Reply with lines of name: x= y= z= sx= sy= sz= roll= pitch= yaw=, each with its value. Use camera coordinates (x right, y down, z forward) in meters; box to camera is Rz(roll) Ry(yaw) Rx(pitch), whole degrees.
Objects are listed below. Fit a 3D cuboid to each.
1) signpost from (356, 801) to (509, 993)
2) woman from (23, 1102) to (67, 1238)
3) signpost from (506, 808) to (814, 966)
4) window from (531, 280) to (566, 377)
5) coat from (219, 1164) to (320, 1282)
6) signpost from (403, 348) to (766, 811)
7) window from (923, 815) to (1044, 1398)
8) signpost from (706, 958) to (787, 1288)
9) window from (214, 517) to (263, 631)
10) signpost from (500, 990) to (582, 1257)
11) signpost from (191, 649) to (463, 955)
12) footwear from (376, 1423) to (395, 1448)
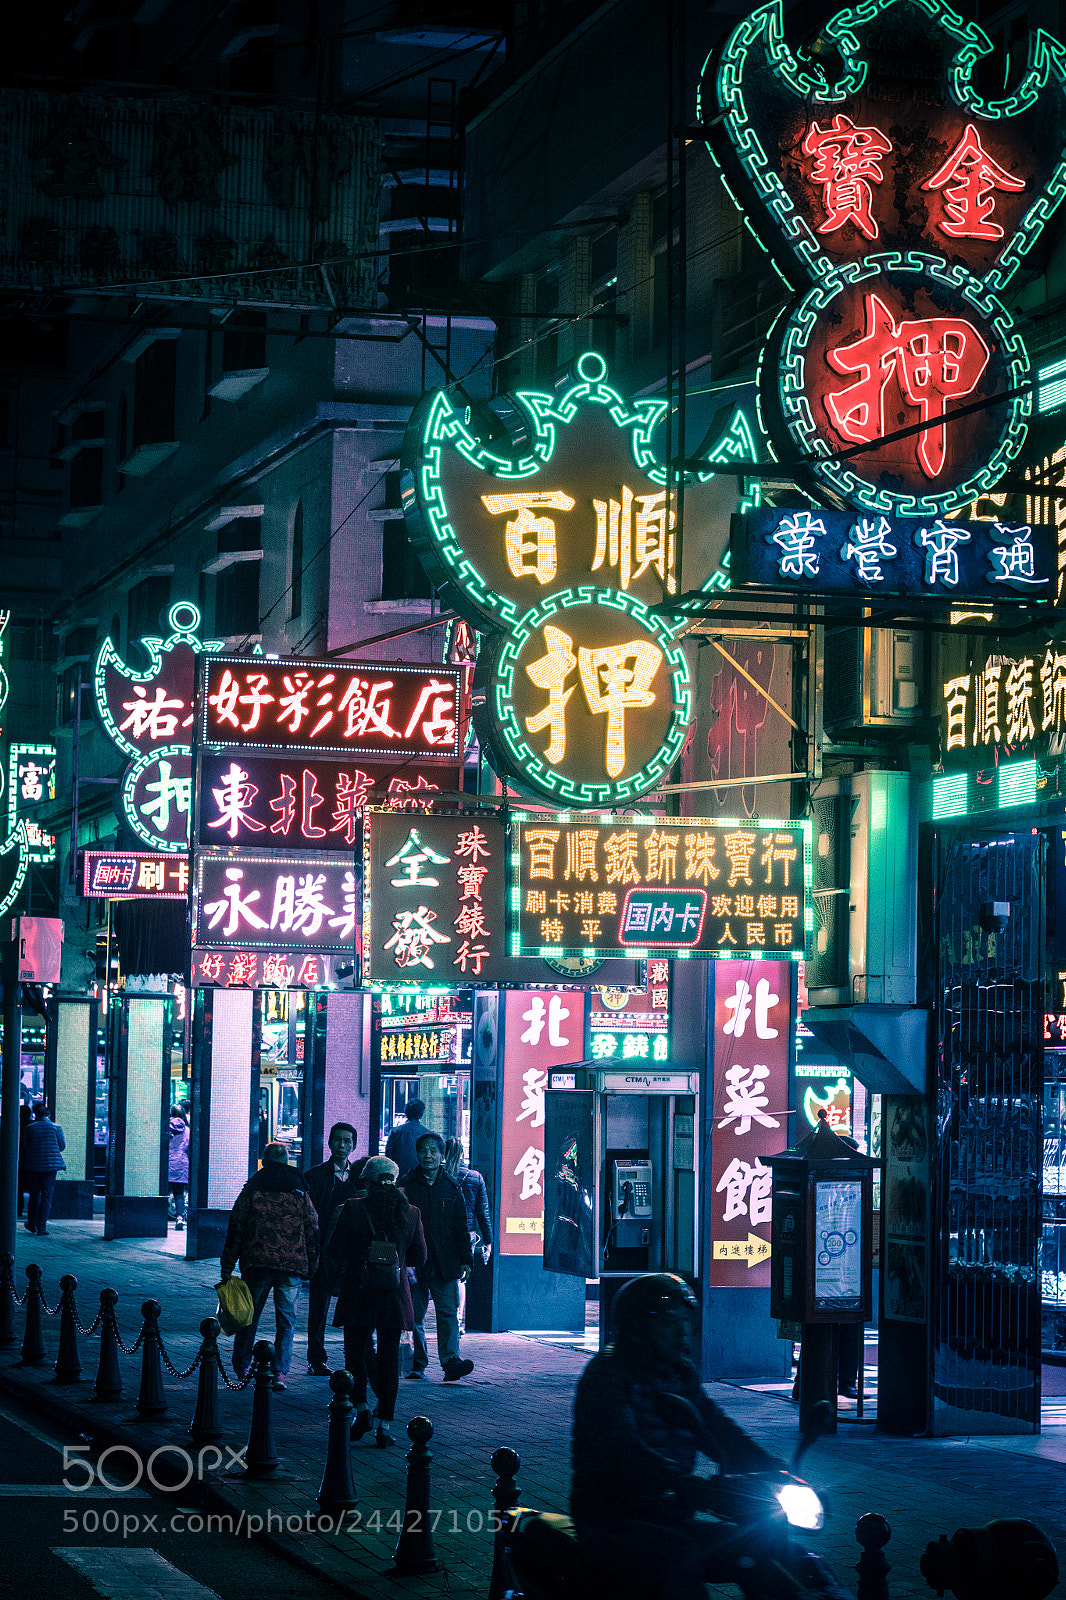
signpost: x=-0.658 y=0.636 z=15.952 sx=1.221 sy=1.481 sz=0.170 roll=1 pitch=-1 yaw=-10
woman: x=-6.737 y=5.017 z=33.333 sx=0.499 sy=1.777 sz=2.706 roll=4 pitch=-9 yaw=-10
signpost: x=0.841 y=0.567 z=15.437 sx=1.965 sy=0.966 sz=0.086 roll=0 pitch=-18 yaw=10
window: x=0.198 y=-4.339 z=23.130 sx=0.119 sy=1.283 sz=0.535 roll=-7 pitch=5 yaw=15
coat: x=-1.734 y=2.787 z=16.177 sx=0.809 sy=0.763 sz=0.390 roll=8 pitch=-11 yaw=-31
signpost: x=0.155 y=-1.379 z=15.118 sx=1.854 sy=2.830 sz=0.413 roll=5 pitch=-10 yaw=-19
window: x=2.732 y=1.930 z=14.618 sx=0.703 sy=3.501 sz=0.795 roll=1 pitch=-9 yaw=8
signpost: x=1.641 y=2.416 z=18.251 sx=0.691 sy=2.419 sz=0.152 roll=6 pitch=-10 yaw=-21
window: x=-3.939 y=-3.046 z=32.749 sx=0.469 sy=1.386 sz=1.438 roll=2 pitch=-7 yaw=-14
signpost: x=0.052 y=2.880 z=21.369 sx=0.744 sy=2.563 sz=0.567 roll=-3 pitch=-10 yaw=23
signpost: x=-1.672 y=0.019 z=19.007 sx=2.468 sy=2.704 sz=0.261 roll=2 pitch=-3 yaw=-29
footwear: x=-0.852 y=3.701 z=14.140 sx=0.079 sy=0.107 sz=0.156 roll=1 pitch=-43 yaw=0
